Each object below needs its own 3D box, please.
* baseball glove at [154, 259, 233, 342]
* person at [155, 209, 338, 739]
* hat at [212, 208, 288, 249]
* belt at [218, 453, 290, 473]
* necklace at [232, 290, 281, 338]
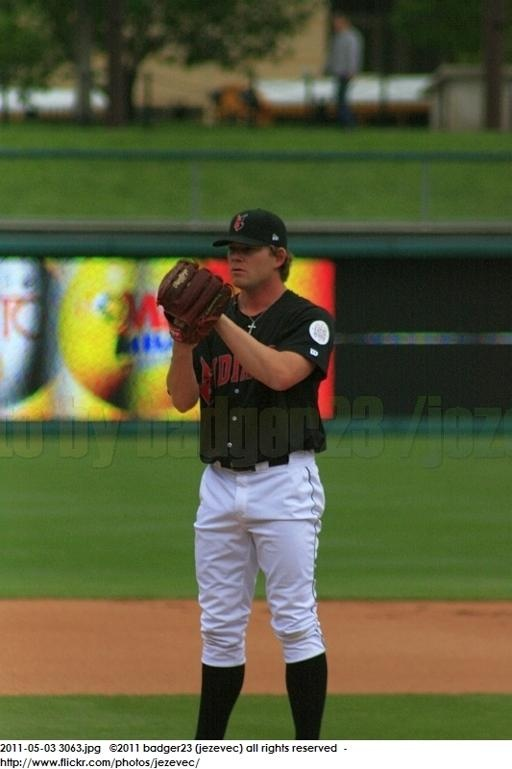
[{"bbox_3d":[-0.169,-0.255,3.692,0.206,0.228,0.092,42,43,8],"label":"baseball glove"},{"bbox_3d":[-0.026,0.278,3.846,0.506,1.587,0.346,1,7,3],"label":"person"},{"bbox_3d":[-0.003,-0.453,3.823,0.171,0.092,0.124,3,2,-32],"label":"hat"},{"bbox_3d":[-0.006,0.233,3.760,0.206,0.055,0.044,2,7,10],"label":"belt"},{"bbox_3d":[0.012,-0.199,3.863,0.110,0.151,0.054,5,-35,0],"label":"necklace"}]
